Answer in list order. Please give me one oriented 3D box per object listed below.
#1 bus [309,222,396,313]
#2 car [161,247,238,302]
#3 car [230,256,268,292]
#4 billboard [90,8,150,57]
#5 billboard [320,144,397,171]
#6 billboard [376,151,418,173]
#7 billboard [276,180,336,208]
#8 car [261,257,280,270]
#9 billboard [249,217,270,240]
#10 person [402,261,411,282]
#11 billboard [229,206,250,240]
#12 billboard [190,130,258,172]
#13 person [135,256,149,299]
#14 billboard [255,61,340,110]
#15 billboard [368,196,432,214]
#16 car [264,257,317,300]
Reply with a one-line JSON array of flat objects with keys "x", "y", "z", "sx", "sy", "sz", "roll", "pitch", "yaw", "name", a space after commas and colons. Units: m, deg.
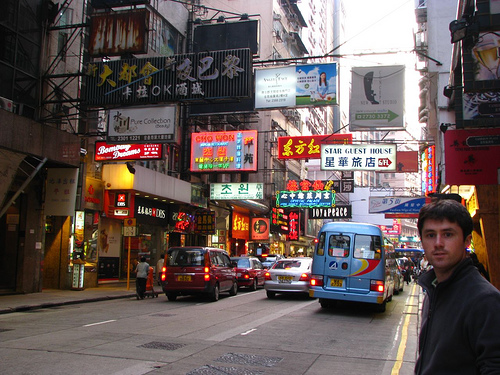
[{"x": 4.188, "y": 2.969, "z": 18.104, "sx": 2.571, "sy": 3.061, "sz": 5.814, "roll": 2, "pitch": -6, "yaw": 21, "name": "bus"}, {"x": -1.873, "y": 3.537, "z": 19.914, "sx": 1.629, "sy": 1.516, "sz": 3.166, "roll": -2, "pitch": -6, "yaw": 17, "name": "car"}, {"x": -0.029, "y": 4.521, "z": 25.300, "sx": 1.053, "sy": 1.035, "sz": 2.895, "roll": -2, "pitch": -4, "yaw": 15, "name": "car"}, {"x": -5.718, "y": -6.837, "z": 20.618, "sx": 2.644, "sy": 1.998, "sz": 0.342, "roll": -3, "pitch": -6, "yaw": 15, "name": "billboard"}, {"x": 5.309, "y": -1.536, "z": 23.142, "sx": 3.585, "sy": 1.439, "sz": 0.640, "roll": -1, "pitch": -6, "yaw": 3, "name": "billboard"}, {"x": 8.446, "y": -1.616, "z": 27.247, "sx": 1.722, "sy": 1.658, "sz": 2.179, "roll": 4, "pitch": -7, "yaw": 36, "name": "billboard"}, {"x": 4.251, "y": 0.436, "z": 36.228, "sx": 4.478, "sy": 2.461, "sz": 0.206, "roll": 0, "pitch": 28, "yaw": 4, "name": "billboard"}, {"x": 1.131, "y": 4.369, "z": 26.828, "sx": 1.028, "sy": 0.859, "sz": 2.411, "roll": -2, "pitch": -13, "yaw": 10, "name": "car"}, {"x": 0.859, "y": 4.031, "z": 45.469, "sx": 1.824, "sy": 2.096, "sz": 0.658, "roll": -1, "pitch": -1, "yaw": 3, "name": "billboard"}, {"x": 11.397, "y": 6.114, "z": 34.294, "sx": 0.526, "sy": 1.410, "sz": 1.074, "roll": -3, "pitch": -6, "yaw": 19, "name": "person"}, {"x": -0.931, "y": 3.507, "z": 43.662, "sx": 0.425, "sy": 2.549, "sz": 4.546, "roll": -2, "pitch": -9, "yaw": 23, "name": "billboard"}, {"x": -1.440, "y": -1.996, "z": 26.017, "sx": 3.794, "sy": 2.380, "sz": 0.569, "roll": -3, "pitch": -6, "yaw": 16, "name": "billboard"}, {"x": -4.553, "y": 3.948, "z": 19.977, "sx": 0.463, "sy": 1.550, "sz": 0.461, "roll": 1, "pitch": -6, "yaw": -15, "name": "person"}, {"x": 2.040, "y": -4.494, "z": 20.898, "sx": 3.602, "sy": 2.022, "sz": 0.350, "roll": -3, "pitch": -6, "yaw": 14, "name": "billboard"}, {"x": 11.221, "y": 1.335, "z": 36.465, "sx": 3.861, "sy": 1.426, "sz": 2.467, "roll": -2, "pitch": -6, "yaw": 10, "name": "billboard"}, {"x": 1.562, "y": 3.781, "z": 19.510, "sx": 1.295, "sy": 1.044, "sz": 3.029, "roll": 0, "pitch": -4, "yaw": 13, "name": "car"}]
